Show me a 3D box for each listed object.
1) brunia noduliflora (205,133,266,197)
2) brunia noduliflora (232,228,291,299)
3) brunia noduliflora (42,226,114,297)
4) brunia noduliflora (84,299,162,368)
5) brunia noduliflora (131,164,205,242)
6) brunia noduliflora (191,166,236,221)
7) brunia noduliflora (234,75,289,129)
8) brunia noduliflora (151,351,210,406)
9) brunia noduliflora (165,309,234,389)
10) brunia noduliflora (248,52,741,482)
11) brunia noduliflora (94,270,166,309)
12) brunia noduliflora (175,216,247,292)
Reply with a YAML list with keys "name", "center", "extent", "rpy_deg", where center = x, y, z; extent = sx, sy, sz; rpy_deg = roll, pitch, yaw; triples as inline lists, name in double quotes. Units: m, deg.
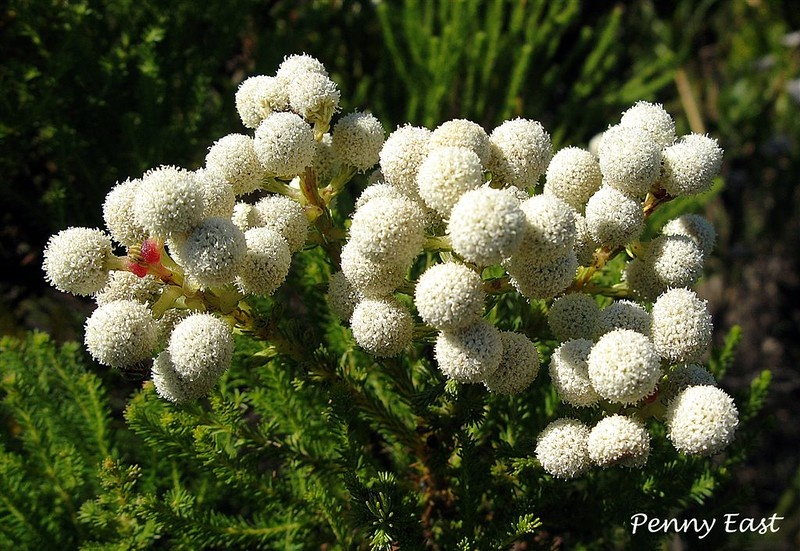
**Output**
- name: "brunia noduliflora"
  center: [-0.605, -0.414, 3.082]
  extent: [0.184, 0.216, 0.231]
  rpy_deg: [0, 95, 3]
- name: "brunia noduliflora"
  center: [-0.494, -0.051, 3.021]
  extent: [0.189, 0.225, 0.241]
  rpy_deg: [1, 87, 5]
- name: "brunia noduliflora"
  center: [-1.132, -0.079, 3.027]
  extent: [0.225, 0.224, 0.258]
  rpy_deg: [5, 106, 11]
- name: "brunia noduliflora"
  center: [-1.004, 0.209, 3.063]
  extent: [0.210, 0.240, 0.259]
  rpy_deg: [-2, 89, 5]
- name: "brunia noduliflora"
  center: [-0.809, -0.252, 2.915]
  extent: [0.219, 0.249, 0.270]
  rpy_deg: [-2, 84, 3]
- name: "brunia noduliflora"
  center: [-0.669, -0.293, 3.020]
  extent: [0.139, 0.164, 0.175]
  rpy_deg: [-6, 93, 3]
- name: "brunia noduliflora"
  center: [-0.530, -0.664, 3.220]
  extent: [0.183, 0.166, 0.207]
  rpy_deg: [-13, 100, -6]
- name: "brunia noduliflora"
  center: [-0.809, 0.361, 3.080]
  extent: [0.182, 0.182, 0.200]
  rpy_deg: [8, 122, -4]
- name: "brunia noduliflora"
  center: [-0.719, 0.262, 2.967]
  extent: [0.208, 0.251, 0.279]
  rpy_deg: [1, 89, 5]
- name: "brunia noduliflora"
  center: [0.397, -0.015, 3.058]
  extent: [1.698, 0.641, 1.257]
  rpy_deg: [6, 63, 6]
- name: "brunia noduliflora"
  center: [-0.998, 0.046, 3.048]
  extent: [0.161, 0.146, 0.102]
  rpy_deg: [-2, 103, 5]
- name: "brunia noduliflora"
  center: [-0.662, -0.083, 2.926]
  extent: [0.201, 0.236, 0.254]
  rpy_deg: [-3, 92, 7]
